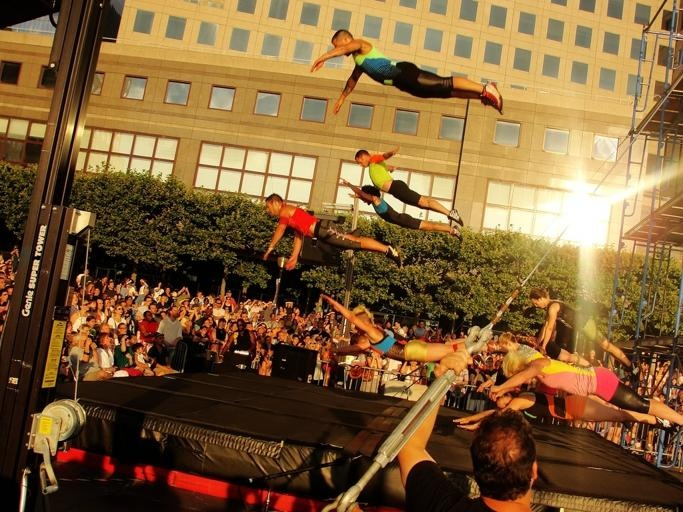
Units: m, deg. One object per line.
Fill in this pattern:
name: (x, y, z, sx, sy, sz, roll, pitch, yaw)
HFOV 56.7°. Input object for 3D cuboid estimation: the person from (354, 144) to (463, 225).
person: (1.089, -0.969, 11.471, 2.092, 0.892, 1.229, 0, 17, 5)

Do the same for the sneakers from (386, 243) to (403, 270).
sneakers: (1.024, -0.034, 12.396, 0.259, 0.230, 0.650, 0, -30, 25)

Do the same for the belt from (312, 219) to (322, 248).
belt: (-0.484, -0.383, 11.985, 0.136, 0.455, 0.315, 7, 14, -6)
